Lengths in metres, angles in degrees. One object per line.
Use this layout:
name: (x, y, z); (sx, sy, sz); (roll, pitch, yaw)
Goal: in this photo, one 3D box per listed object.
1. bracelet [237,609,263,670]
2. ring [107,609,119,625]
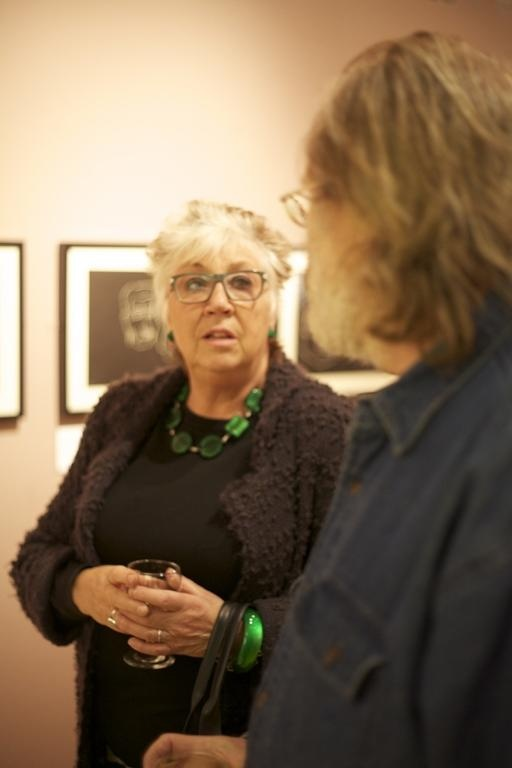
bracelet: (-0.015, 0.445, 1.299); (0.035, 0.071, 0.092); (33, 28, -12)
ring: (-0.272, 0.440, 1.392); (0.011, 0.029, 0.023); (15, -6, -37)
